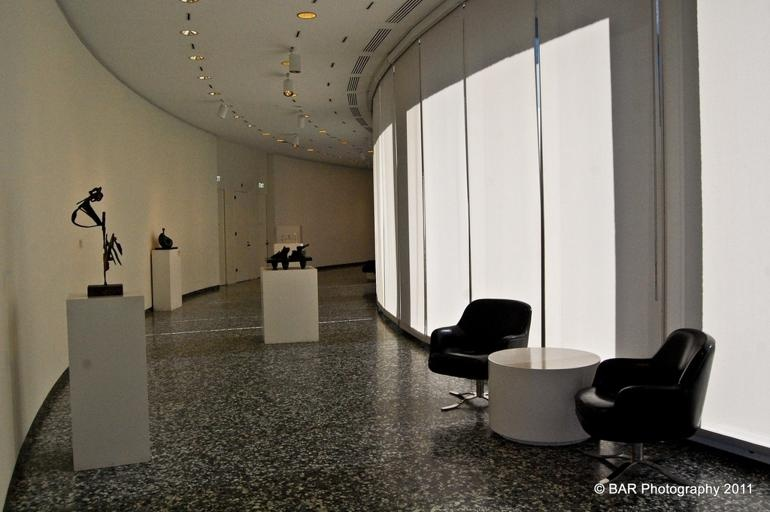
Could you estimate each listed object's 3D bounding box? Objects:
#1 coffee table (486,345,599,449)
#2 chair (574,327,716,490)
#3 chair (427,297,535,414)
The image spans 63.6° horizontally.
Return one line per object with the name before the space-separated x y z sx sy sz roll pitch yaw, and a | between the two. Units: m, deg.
coffee table | 1.492 1.283 5.857 0.842 0.601 0.876 -3 -3 37
chair | 2.253 1.281 5.439 1.077 1.219 0.970 -2 3 -5
chair | 1.033 1.060 6.684 0.880 1.090 1.024 3 0 33
